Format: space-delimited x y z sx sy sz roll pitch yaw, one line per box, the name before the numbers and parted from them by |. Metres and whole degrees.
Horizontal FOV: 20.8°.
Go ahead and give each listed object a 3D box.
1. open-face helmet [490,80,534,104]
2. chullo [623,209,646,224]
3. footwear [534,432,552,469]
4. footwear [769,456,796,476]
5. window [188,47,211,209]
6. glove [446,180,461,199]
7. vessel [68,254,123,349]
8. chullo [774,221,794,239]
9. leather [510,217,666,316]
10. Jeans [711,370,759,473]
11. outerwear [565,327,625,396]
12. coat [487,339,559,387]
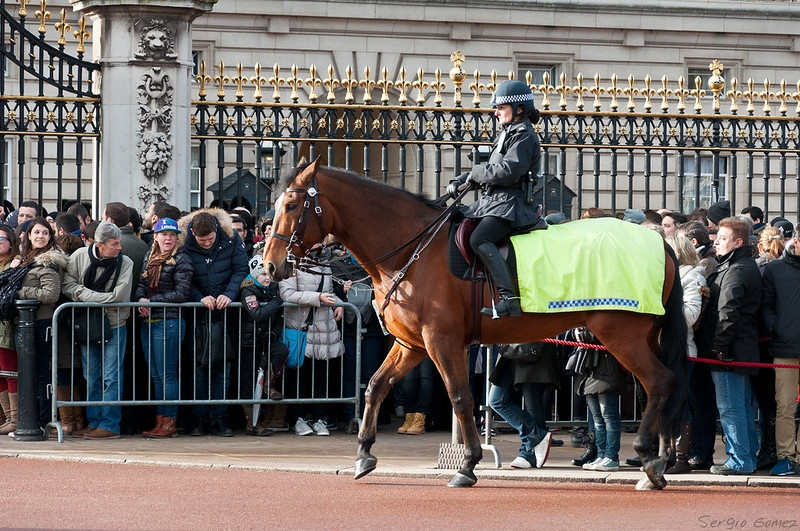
open-face helmet | 1.428 -2.248 27.654 0.474 0.199 0.307 4 -3 -4
chullo | 3.173 -0.701 29.551 0.259 0.109 0.311 0 -1 2
footwear | 1.847 2.393 28.295 0.264 0.469 0.175 8 23 0
footwear | 5.017 2.602 28.220 0.432 0.224 0.220 3 0 -34
window | -2.975 -1.937 32.186 0.412 2.223 0.344 0 7 4
glove | 0.677 -1.000 27.755 0.186 0.199 0.083 8 6 20
vessel | -4.126 0.394 29.378 0.601 1.349 0.270 3 0 -6
chullo | 5.504 -0.532 31.221 0.356 0.174 0.243 15 18 26
leather | 2.372 0.017 27.486 1.969 0.845 1.038 -1 3 -4
Jeans | 4.362 2.032 28.175 0.673 1.282 0.492 3 0 -14
outerwear | 2.385 1.220 28.703 0.674 0.987 1.023 -4 -4 12
coat | 1.632 1.267 28.812 0.784 0.804 0.875 -5 -41 5
